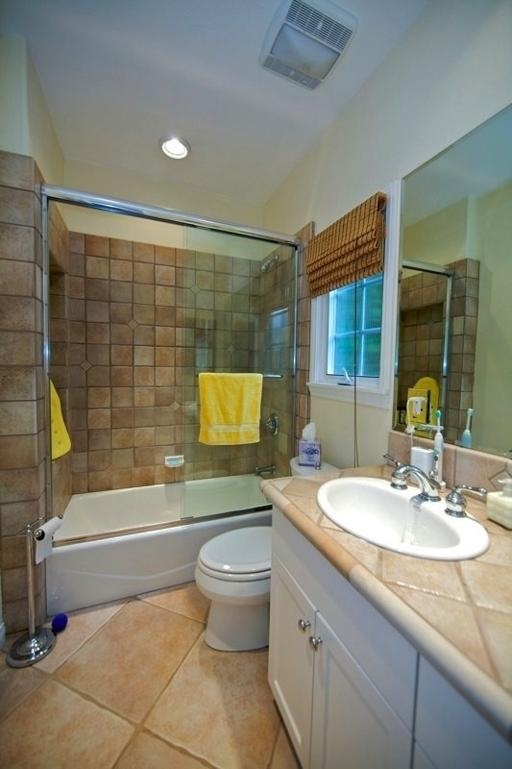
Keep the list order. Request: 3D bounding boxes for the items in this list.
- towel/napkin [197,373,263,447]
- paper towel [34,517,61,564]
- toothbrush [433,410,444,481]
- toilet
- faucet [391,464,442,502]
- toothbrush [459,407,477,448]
[{"bbox_3d":[-0.140,0.117,2.441,0.289,0.376,0.048,-1,0,-21],"label":"towel/napkin"},{"bbox_3d":[-0.787,0.585,1.900,0.049,0.203,0.178,3,3,-2],"label":"paper towel"},{"bbox_3d":[0.546,0.196,1.515,0.023,0.261,0.024,4,24,27],"label":"toothbrush"},{"bbox_3d":[-0.026,0.671,1.899,0.408,0.566,0.308,-1,10,1],"label":"toilet"},{"bbox_3d":[0.450,0.285,1.436,0.054,0.090,0.150,1,-3,-17],"label":"faucet"},{"bbox_3d":[0.628,0.130,1.503,0.015,0.119,0.043,-3,13,-18],"label":"toothbrush"}]
